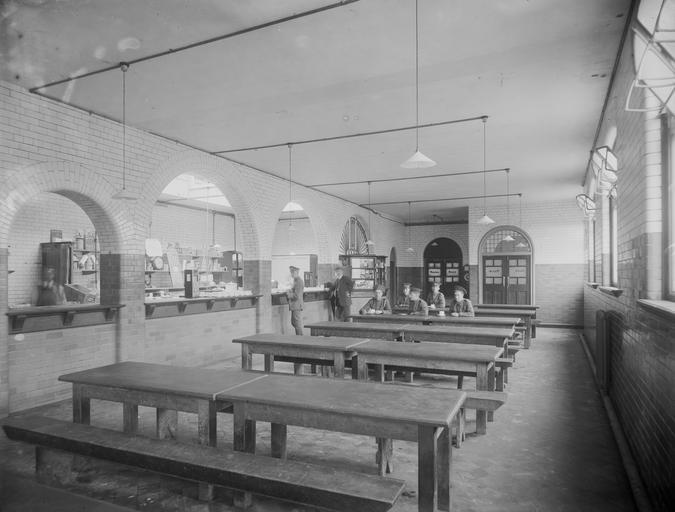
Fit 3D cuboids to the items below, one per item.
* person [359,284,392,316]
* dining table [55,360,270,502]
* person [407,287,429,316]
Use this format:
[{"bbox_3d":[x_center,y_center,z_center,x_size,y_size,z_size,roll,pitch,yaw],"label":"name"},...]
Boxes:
[{"bbox_3d":[0.836,1.022,11.510,0.612,0.658,0.704,-1,-7,27],"label":"person"},{"bbox_3d":[-1.795,2.048,5.317,1.960,1.024,1.036,-1,-4,25],"label":"dining table"},{"bbox_3d":[1.854,1.087,11.197,0.464,0.731,0.755,0,-5,-8],"label":"person"}]
